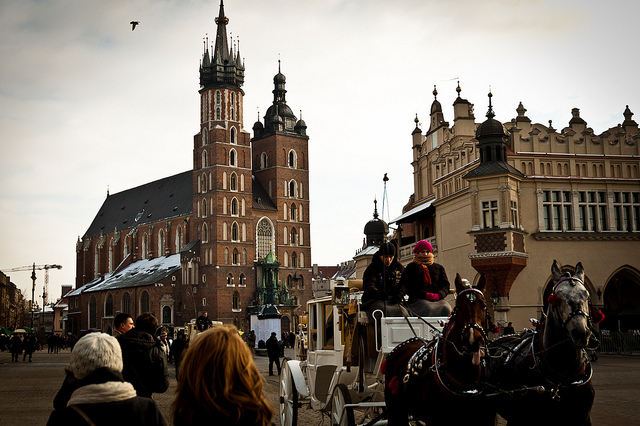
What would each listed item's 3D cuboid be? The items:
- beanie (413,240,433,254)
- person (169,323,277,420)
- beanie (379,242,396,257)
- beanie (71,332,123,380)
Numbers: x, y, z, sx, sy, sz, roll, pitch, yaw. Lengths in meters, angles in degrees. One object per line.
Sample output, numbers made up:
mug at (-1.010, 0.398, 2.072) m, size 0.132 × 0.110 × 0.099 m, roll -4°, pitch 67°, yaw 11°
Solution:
beanie at (1.787, 0.557, 14.568) m, size 0.213 × 0.197 × 0.253 m, roll 9°, pitch -20°, yaw -30°
person at (-1.232, 1.895, 10.169) m, size 1.151 × 1.657 × 1.039 m, roll 0°, pitch -1°, yaw -17°
beanie at (1.182, 0.631, 14.887) m, size 0.233 × 0.240 × 0.237 m, roll 4°, pitch -15°, yaw -14°
beanie at (-2.748, 1.758, 10.462) m, size 0.483 × 0.585 × 0.580 m, roll 1°, pitch -18°, yaw -45°
